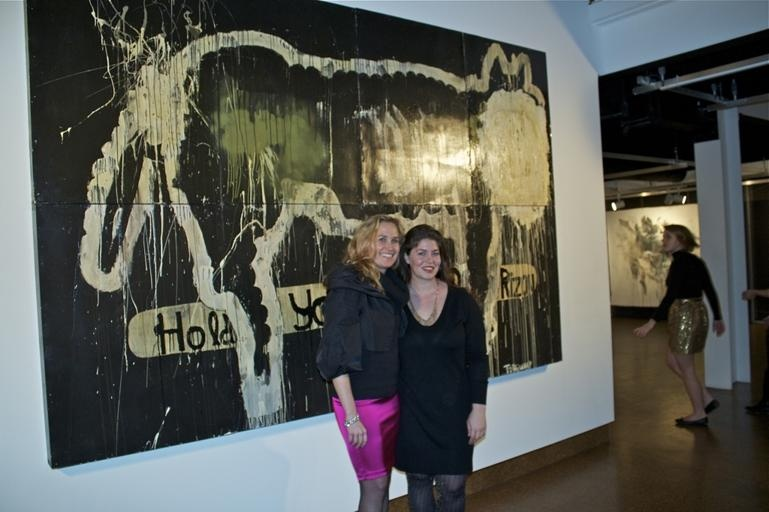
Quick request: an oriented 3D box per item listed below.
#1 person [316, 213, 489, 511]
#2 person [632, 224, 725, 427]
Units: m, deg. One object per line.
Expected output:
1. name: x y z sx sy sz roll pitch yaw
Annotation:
1. person: -0.008 0.718 4.307 0.884 1.961 0.437 -2 5 -7
2. person: 3.346 0.727 7.136 0.711 2.136 0.945 2 6 37
